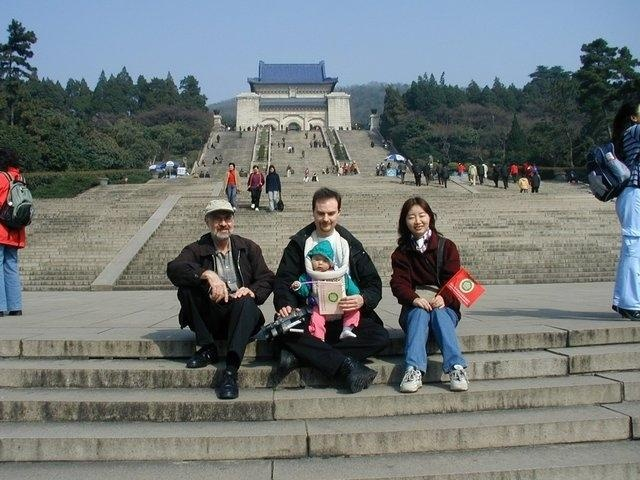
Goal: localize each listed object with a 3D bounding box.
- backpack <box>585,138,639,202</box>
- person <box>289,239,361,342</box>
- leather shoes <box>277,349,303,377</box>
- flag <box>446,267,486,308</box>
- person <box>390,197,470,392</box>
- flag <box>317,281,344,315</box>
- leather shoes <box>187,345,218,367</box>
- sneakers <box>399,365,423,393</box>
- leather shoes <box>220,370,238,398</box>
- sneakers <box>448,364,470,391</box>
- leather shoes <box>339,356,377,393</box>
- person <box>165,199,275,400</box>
[{"bbox_3d":[2.964,-0.659,8.283,0.577,0.575,0.450,-17,-15,-2],"label":"backpack"},{"bbox_3d":[0.106,0.361,7.006,0.533,0.941,0.396,-1,-23,0],"label":"person"},{"bbox_3d":[-0.262,1.041,6.803,0.108,0.219,0.229,-1,2,30],"label":"leather shoes"},{"bbox_3d":[1.299,0.416,7.157,0.341,0.332,0.195,-1,1,8],"label":"flag"},{"bbox_3d":[0.960,0.438,7.028,0.654,1.659,0.834,-1,1,5],"label":"person"},{"bbox_3d":[0.095,0.502,6.928,0.236,0.315,0.104,-1,1,0],"label":"flag"},{"bbox_3d":[-1.050,1.020,7.003,0.121,0.177,0.286,0,2,44],"label":"leather shoes"},{"bbox_3d":[0.808,1.169,6.744,0.287,0.199,0.125,-3,2,-45],"label":"sneakers"},{"bbox_3d":[-0.761,1.205,6.749,0.162,0.227,0.286,-1,2,15],"label":"leather shoes"},{"bbox_3d":[1.186,1.160,6.725,0.163,0.224,0.128,-1,1,6],"label":"sneakers"},{"bbox_3d":[0.320,1.136,6.783,0.310,0.293,0.223,-1,1,0],"label":"leather shoes"},{"bbox_3d":[-0.869,0.462,7.123,0.751,1.664,0.813,0,2,34],"label":"person"}]
